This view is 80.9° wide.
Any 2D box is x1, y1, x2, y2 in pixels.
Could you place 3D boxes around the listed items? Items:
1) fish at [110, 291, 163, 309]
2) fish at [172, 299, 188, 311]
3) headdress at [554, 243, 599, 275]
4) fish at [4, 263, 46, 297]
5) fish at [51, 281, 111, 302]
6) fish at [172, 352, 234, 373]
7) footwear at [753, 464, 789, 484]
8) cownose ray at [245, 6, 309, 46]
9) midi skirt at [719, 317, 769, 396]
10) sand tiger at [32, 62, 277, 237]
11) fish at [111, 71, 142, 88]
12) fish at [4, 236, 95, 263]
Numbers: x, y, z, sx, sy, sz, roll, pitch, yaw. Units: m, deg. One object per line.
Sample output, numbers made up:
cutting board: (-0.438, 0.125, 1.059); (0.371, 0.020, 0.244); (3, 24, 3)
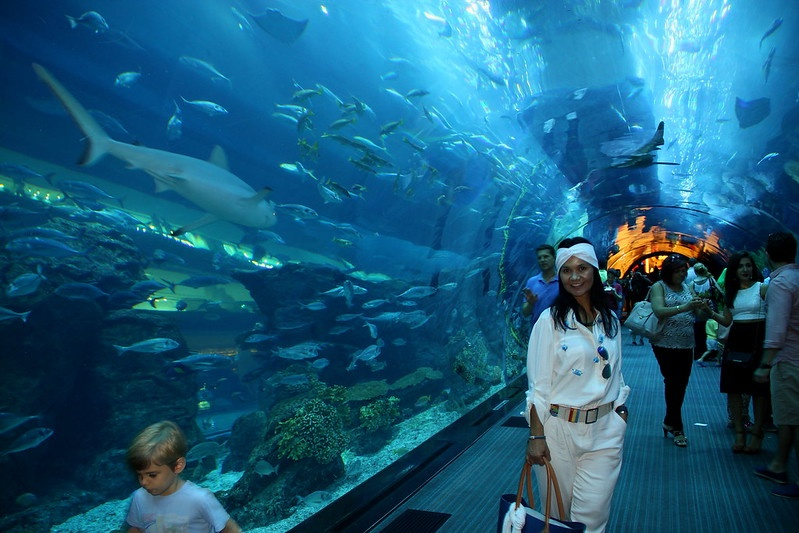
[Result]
fish: (-3.339, 0.412, 5.805); (0.413, 0.189, 0.158); (2, -8, -21)
fish: (-2.917, 0.510, 6.253); (0.078, 0.133, 0.156); (-4, -8, 24)
headdress: (1.706, -0.080, 4.409); (0.367, 0.178, 0.329); (0, -17, -46)
fish: (-4.028, 0.130, 5.031); (0.498, 0.084, 0.269); (-27, 6, -37)
fish: (-3.766, 0.289, 5.582); (0.534, 0.192, 0.074); (3, -9, -25)
fish: (-2.666, 1.316, 6.549); (0.264, 0.245, 0.862); (-8, -10, 44)
footwear: (4.544, 2.541, 5.830); (0.157, 0.111, 0.358); (3, -1, -37)
cownose ray: (-1.822, -3.658, 7.145); (0.188, 0.339, 0.704); (27, 27, 28)
midi skirt: (4.832, 1.265, 6.417); (0.582, 0.754, 0.590); (7, -6, -16)
sand tiger: (-2.929, -1.379, 6.102); (3.891, 1.010, 1.572); (26, 32, 8)
fish: (-3.210, -2.189, 5.550); (0.150, 0.293, 0.153); (31, -14, 28)
fish: (-3.915, -0.191, 5.216); (0.324, 0.215, 0.593); (-2, -7, 9)
